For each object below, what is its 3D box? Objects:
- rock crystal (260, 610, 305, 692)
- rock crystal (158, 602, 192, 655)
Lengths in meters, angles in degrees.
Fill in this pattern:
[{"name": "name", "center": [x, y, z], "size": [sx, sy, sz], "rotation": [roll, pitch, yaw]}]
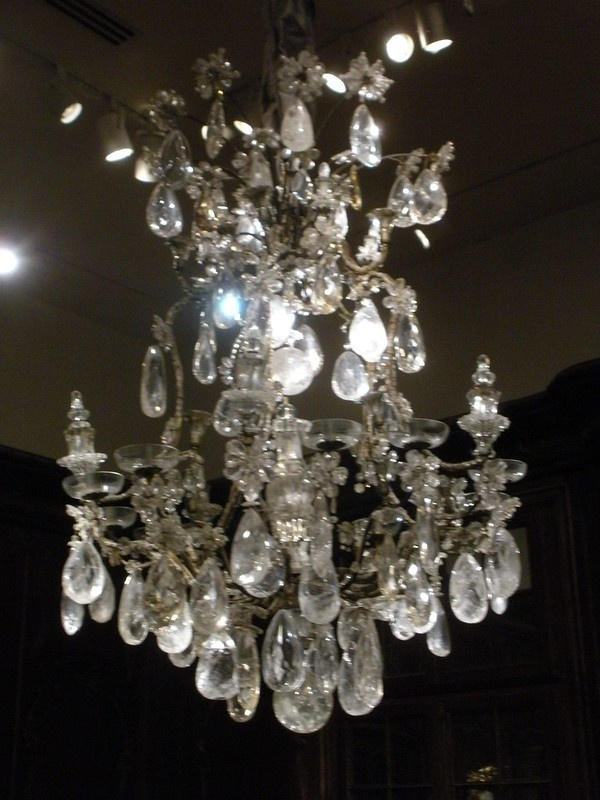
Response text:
[{"name": "rock crystal", "center": [-0.029, 0.434, 1.628], "size": [0.076, 0.142, 0.055], "rotation": [-7, -28, 18]}, {"name": "rock crystal", "center": [-0.231, 0.425, 1.735], "size": [0.066, 0.080, 0.148], "rotation": [5, -25, -5]}]
